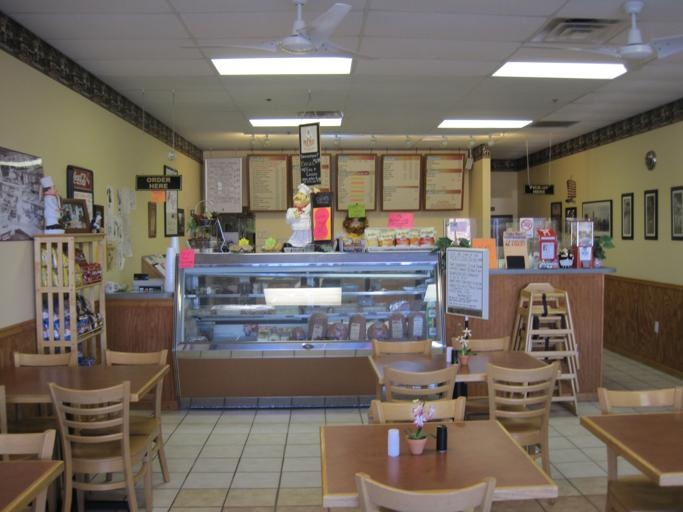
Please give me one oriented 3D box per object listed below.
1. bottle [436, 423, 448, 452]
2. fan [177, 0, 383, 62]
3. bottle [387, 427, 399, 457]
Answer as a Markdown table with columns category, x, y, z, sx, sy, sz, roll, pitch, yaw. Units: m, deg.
| category | x | y | z | sx | sy | sz | roll | pitch | yaw |
| --- | --- | --- | --- | --- | --- | --- | --- | --- | --- |
| bottle | 0.615 | 1.099 | 3.377 | 0.067 | 0.157 | 0.090 | 1 | 9 | 8 |
| fan | -0.319 | -1.739 | 4.399 | 0.820 | 0.308 | 0.775 | 6 | 7 | 22 |
| bottle | 0.322 | 1.105 | 3.365 | 0.070 | 0.161 | 0.170 | 1 | 9 | 6 |
